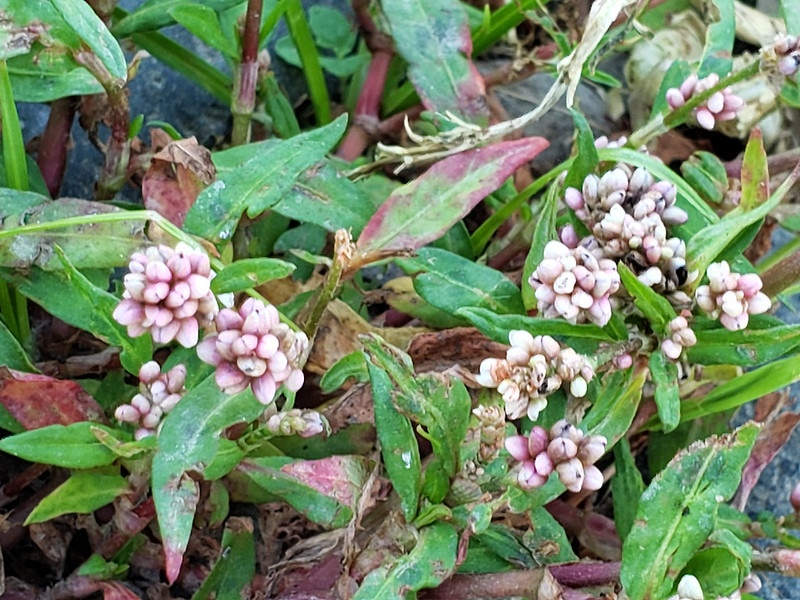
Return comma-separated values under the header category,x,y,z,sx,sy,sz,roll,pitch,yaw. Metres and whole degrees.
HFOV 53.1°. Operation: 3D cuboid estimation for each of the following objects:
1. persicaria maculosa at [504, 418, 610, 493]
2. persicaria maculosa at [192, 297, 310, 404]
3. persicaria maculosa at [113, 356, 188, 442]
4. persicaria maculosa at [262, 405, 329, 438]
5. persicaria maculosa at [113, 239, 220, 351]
category,x,y,z,sx,sy,sz,roll,pitch,yaw
persicaria maculosa,0.213,0.223,1.117,0.133,0.087,0.091,4,62,-10
persicaria maculosa,-0.186,0.071,1.082,0.141,0.062,0.138,30,102,-5
persicaria maculosa,-0.373,0.159,1.207,0.101,0.149,0.109,0,62,-11
persicaria maculosa,-0.151,0.184,1.205,0.050,0.076,0.035,-39,108,-48
persicaria maculosa,-0.307,-0.005,1.079,0.120,0.090,0.125,16,61,-4
